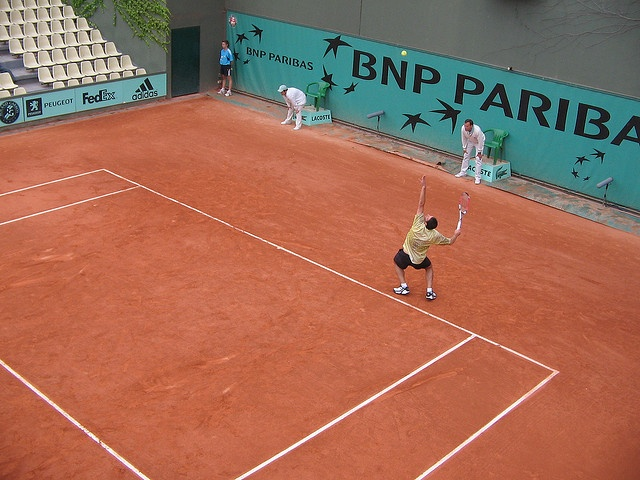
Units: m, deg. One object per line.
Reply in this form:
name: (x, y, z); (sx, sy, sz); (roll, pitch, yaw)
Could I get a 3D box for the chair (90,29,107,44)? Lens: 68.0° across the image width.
chair: (-9.547, -8.911, 20.643); (0.747, 0.683, 0.646); (-13, 21, -42)

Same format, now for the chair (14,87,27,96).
chair: (-10.708, -5.420, 17.222); (0.429, 0.213, 1.135); (-10, 28, -30)

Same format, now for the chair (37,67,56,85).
chair: (-10.584, -6.470, 18.642); (0.544, 0.718, 0.527); (-25, 42, -39)

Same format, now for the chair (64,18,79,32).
chair: (-10.611, -9.348, 20.515); (0.485, 0.451, 0.361); (-9, 26, -28)

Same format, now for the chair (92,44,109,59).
chair: (-9.318, -8.184, 20.555); (0.541, 0.568, 0.624); (22, 30, 36)

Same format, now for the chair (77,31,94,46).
chair: (-9.883, -8.678, 20.498); (0.662, 0.592, 0.599); (-15, 37, -33)

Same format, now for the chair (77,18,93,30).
chair: (-10.122, -9.450, 20.758); (0.623, 0.483, 0.539); (-21, 42, -35)

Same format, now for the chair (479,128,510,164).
chair: (5.692, -3.120, 15.639); (0.802, 0.981, 0.675); (20, 27, 39)

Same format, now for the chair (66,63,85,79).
chair: (-9.881, -6.991, 19.492); (0.637, 0.548, 0.568); (-25, 57, -40)

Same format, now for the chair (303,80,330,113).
chair: (-0.111, -5.987, 19.408); (0.624, 1.089, 0.972); (-16, 30, -39)

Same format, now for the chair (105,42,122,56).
chair: (-8.786, -8.279, 20.585); (0.605, 0.466, 0.523); (-17, 34, -36)

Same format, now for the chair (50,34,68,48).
chair: (-10.884, -8.484, 20.108); (0.584, 0.594, 0.494); (-13, 32, -39)

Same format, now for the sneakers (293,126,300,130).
sneakers: (-0.850, -4.399, 18.504); (0.208, 0.147, 0.083); (-4, 42, -4)

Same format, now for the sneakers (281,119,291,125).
sneakers: (-1.289, -4.759, 18.952); (0.383, 0.273, 0.166); (3, 33, -3)

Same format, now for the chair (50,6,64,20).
chair: (-11.204, -9.883, 20.506); (0.489, 0.516, 0.652); (-9, 27, -28)

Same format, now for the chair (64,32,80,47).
chair: (-10.438, -8.599, 20.326); (0.592, 0.604, 0.512); (-17, 34, -39)

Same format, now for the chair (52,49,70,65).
chair: (-10.597, -7.578, 19.715); (0.579, 0.690, 0.703); (22, 28, 39)

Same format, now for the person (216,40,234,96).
person: (-4.154, -7.794, 21.433); (0.682, 2.325, 1.122); (-1, 23, -11)

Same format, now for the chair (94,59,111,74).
chair: (-9.025, -7.329, 19.964); (0.648, 0.584, 0.589); (-25, 57, -39)

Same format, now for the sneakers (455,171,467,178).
sneakers: (4.597, -2.188, 15.600); (0.368, 0.270, 0.136); (2, 26, 7)

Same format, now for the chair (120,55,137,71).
chair: (-8.209, -7.734, 20.722); (0.753, 0.676, 0.706); (-19, 41, -34)

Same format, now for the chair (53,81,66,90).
chair: (-10.176, -6.214, 18.783); (0.436, 0.246, 0.430); (-7, 26, -25)

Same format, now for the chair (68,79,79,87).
chair: (-9.379, -6.118, 18.339); (0.541, 0.258, 0.539); (-8, 23, -23)

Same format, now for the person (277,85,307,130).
person: (-1.001, -5.264, 18.586); (0.919, 1.569, 1.290); (3, 23, -2)

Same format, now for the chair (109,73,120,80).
chair: (-8.555, -7.049, 20.164); (0.205, 0.222, 0.442); (20, 28, 32)

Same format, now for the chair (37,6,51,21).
chair: (-11.716, -9.814, 20.423); (0.446, 0.463, 0.306); (-9, 26, -28)

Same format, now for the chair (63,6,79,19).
chair: (-10.788, -10.009, 20.913); (0.636, 0.578, 0.549); (-27, 45, -36)

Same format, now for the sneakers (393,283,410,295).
sneakers: (1.769, 1.056, 10.221); (0.371, 0.273, 0.151); (9, 18, 23)

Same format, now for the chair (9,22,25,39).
chair: (-12.395, -8.684, 19.756); (0.710, 0.727, 0.593); (-13, 26, -40)

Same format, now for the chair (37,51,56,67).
chair: (-10.893, -7.362, 19.255); (0.644, 0.591, 0.739); (32, 33, 29)

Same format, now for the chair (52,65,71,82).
chair: (-10.268, -6.780, 19.172); (0.702, 0.614, 0.635); (-22, 39, -40)

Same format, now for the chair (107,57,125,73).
chair: (-8.592, -7.497, 20.420); (0.710, 0.617, 0.648); (-19, 41, -41)
